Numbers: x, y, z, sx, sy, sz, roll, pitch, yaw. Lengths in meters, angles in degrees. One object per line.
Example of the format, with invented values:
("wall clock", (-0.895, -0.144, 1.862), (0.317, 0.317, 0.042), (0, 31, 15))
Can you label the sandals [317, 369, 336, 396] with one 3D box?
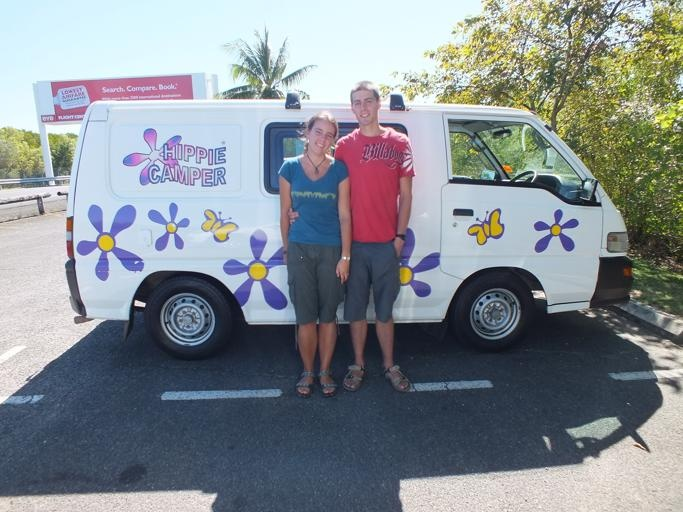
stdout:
("sandals", (-0.127, 1.238, 4.740), (0.100, 0.087, 0.299), (-3, 13, -11))

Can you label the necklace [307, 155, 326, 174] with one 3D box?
("necklace", (-0.239, -0.848, 4.490), (0.154, 0.150, 0.004), (3, 10, 3))

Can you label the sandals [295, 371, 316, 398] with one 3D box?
("sandals", (-0.349, 1.273, 4.770), (0.149, 0.200, 0.472), (1, -8, 0))

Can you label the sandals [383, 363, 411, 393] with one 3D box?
("sandals", (0.559, 1.208, 4.884), (0.132, 0.145, 0.344), (-6, 7, -22))

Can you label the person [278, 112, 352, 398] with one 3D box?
("person", (-0.232, 0.008, 4.607), (0.667, 2.655, 0.424), (-2, 12, -7))

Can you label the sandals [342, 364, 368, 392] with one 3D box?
("sandals", (0.121, 1.210, 4.771), (0.116, 0.128, 0.334), (0, 4, 8))
